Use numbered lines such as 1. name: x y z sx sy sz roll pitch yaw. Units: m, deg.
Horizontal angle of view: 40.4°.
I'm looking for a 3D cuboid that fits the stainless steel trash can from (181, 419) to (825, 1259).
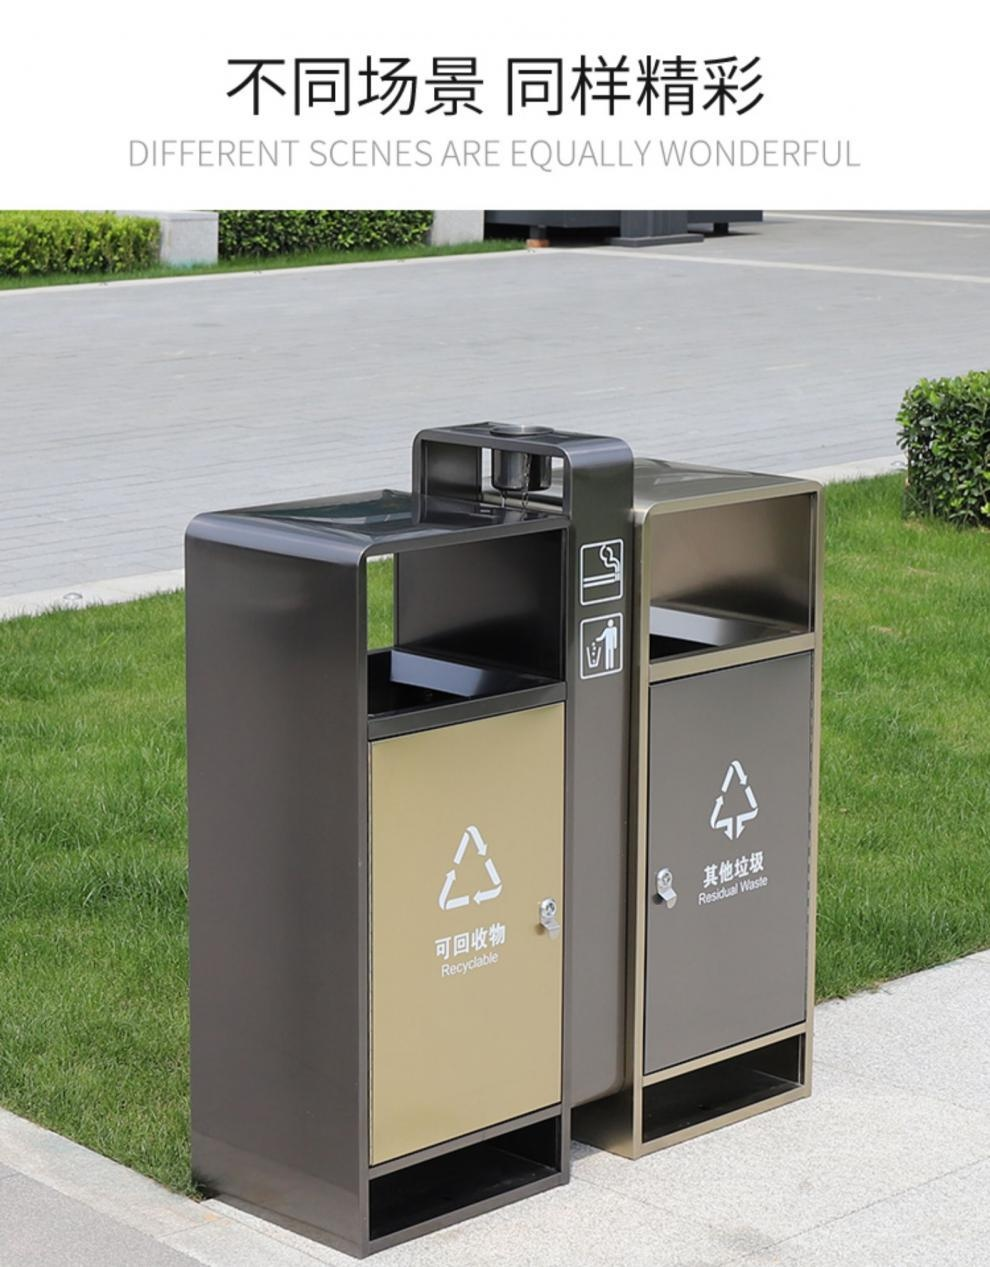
1. stainless steel trash can: 0.037 0.447 2.534 0.584 1.638 1.432 7 10 44
